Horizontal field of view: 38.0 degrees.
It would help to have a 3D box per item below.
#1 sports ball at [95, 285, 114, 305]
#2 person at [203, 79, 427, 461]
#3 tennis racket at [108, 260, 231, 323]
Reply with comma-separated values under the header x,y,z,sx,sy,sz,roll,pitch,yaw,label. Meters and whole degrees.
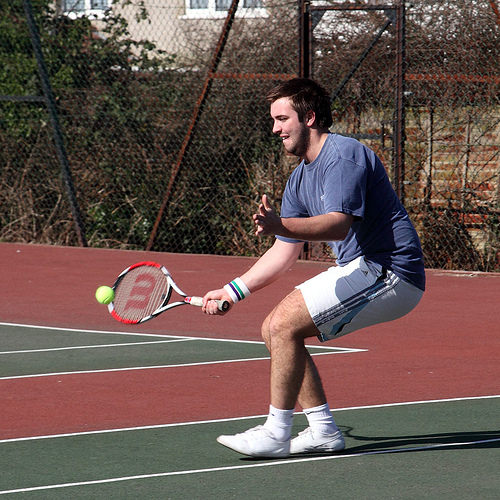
x,y,z,sx,sy,sz,roll,pitch,yaw,label
-0.853,0.269,4.259,0.100,0.122,0.160,-3,8,-11,sports ball
0.279,0.105,3.338,0.891,1.780,0.565,-9,12,-37,person
-0.523,0.297,4.597,0.119,0.391,1.108,22,2,36,tennis racket
